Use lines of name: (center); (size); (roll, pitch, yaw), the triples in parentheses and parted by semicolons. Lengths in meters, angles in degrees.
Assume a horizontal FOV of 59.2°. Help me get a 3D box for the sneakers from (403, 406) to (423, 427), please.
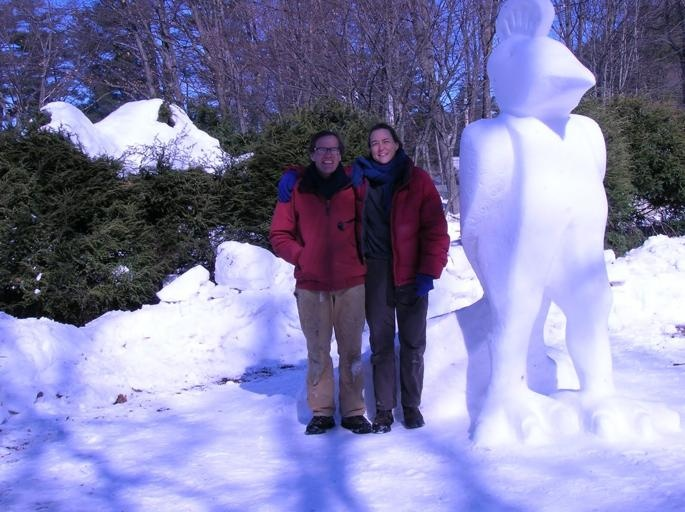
sneakers: (0.579, 1.305, 4.898); (0.169, 0.147, 0.135); (-3, 10, 6)

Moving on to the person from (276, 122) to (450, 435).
person: (0.498, 0.140, 4.965); (0.762, 2.446, 0.634); (-3, 9, 0)

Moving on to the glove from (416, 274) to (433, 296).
glove: (0.659, 0.234, 4.847); (0.134, 0.196, 0.115); (-3, 9, 6)

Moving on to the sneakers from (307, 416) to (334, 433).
sneakers: (-0.186, 1.404, 5.064); (0.234, 0.104, 0.101); (3, -3, -29)

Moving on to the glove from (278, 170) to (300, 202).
glove: (-0.467, -0.605, 5.202); (0.080, 0.253, 0.184); (30, -14, -39)

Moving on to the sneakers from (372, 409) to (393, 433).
sneakers: (0.330, 1.337, 4.888); (0.102, 0.205, 0.207); (-6, -29, 15)
